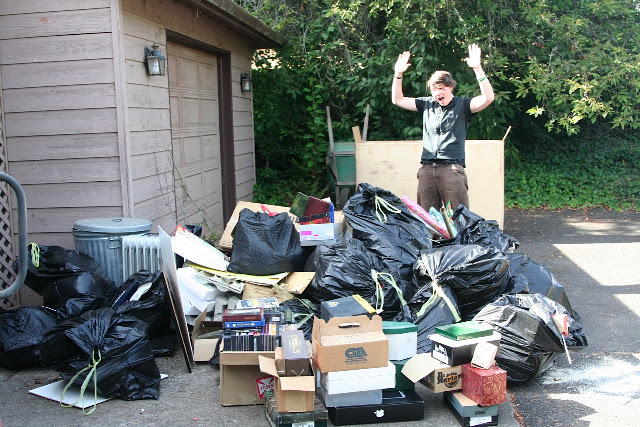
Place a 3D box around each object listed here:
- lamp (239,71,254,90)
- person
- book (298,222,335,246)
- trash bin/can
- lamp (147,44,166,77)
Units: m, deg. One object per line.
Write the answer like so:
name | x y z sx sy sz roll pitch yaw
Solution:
lamp | -1.247 -2.243 8.838 0.118 0.347 0.406 -1 8 6
person | 1.399 -0.974 6.026 1.127 1.897 0.442 1 9 19
book | -0.029 0.217 5.374 0.416 0.211 0.244 -2 3 4
trash bin/can | -2.056 0.303 5.204 0.748 0.671 0.664 -1 14 -26
lamp | -1.862 -1.758 5.960 0.139 0.365 0.324 -1 8 2
